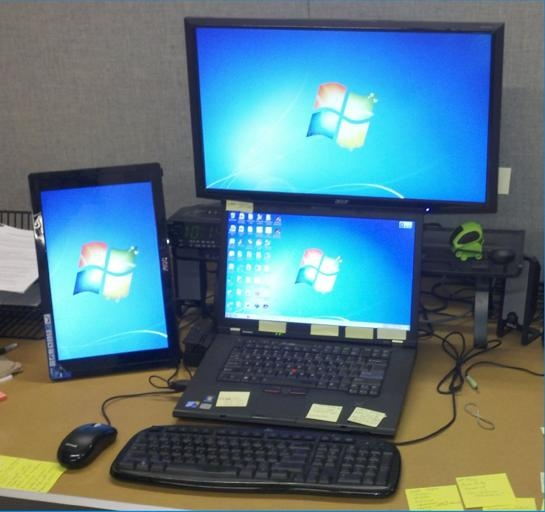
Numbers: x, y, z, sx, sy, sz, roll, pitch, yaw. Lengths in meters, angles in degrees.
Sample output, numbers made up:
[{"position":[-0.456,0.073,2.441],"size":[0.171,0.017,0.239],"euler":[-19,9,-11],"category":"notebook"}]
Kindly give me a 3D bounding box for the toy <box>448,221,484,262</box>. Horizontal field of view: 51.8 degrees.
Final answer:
[{"position":[0.436,-0.036,1.276],"size":[0.076,0.087,0.076],"euler":[1,17,15],"category":"toy"}]

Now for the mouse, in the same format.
[{"position":[-0.324,0.328,0.971],"size":[0.055,0.047,0.103],"euler":[3,10,26],"category":"mouse"}]

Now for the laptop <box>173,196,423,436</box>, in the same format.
[{"position":[0.061,0.027,1.070],"size":[0.448,0.303,0.437],"euler":[6,40,16],"category":"laptop"}]
